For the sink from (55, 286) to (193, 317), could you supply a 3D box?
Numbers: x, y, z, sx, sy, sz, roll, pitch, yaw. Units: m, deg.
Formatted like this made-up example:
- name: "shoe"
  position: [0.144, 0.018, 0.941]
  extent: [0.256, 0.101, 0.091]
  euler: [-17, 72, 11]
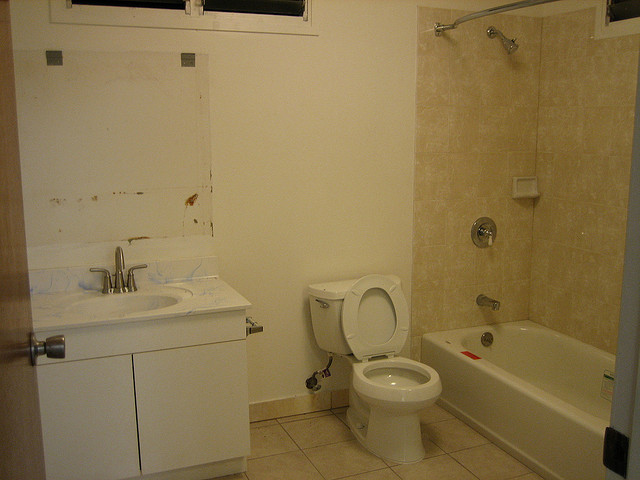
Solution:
- name: "sink"
  position: [-1.034, 0.336, 3.005]
  extent: [0.706, 0.117, 0.348]
  euler: [-5, 12, -6]

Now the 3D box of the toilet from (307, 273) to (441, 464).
- name: "toilet"
  position: [0.383, 0.703, 3.531]
  extent: [0.691, 1.172, 1.019]
  euler: [-5, 9, -24]

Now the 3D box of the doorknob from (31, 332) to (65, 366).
- name: "doorknob"
  position: [-0.773, 0.307, 1.585]
  extent: [0.091, 0.118, 0.080]
  euler: [1, 0, -31]
